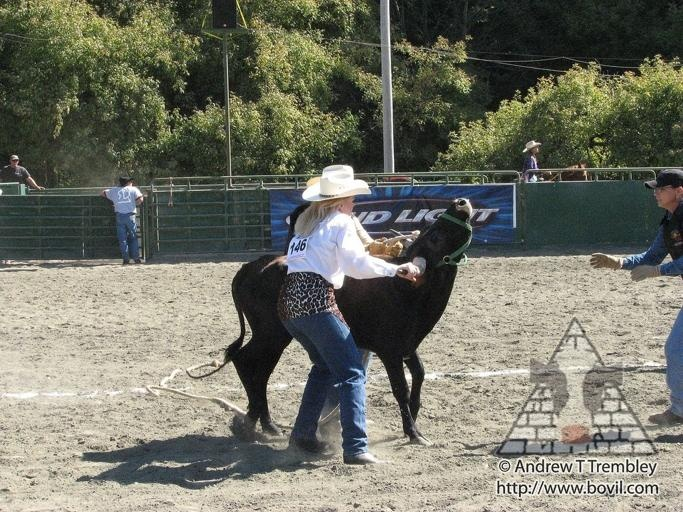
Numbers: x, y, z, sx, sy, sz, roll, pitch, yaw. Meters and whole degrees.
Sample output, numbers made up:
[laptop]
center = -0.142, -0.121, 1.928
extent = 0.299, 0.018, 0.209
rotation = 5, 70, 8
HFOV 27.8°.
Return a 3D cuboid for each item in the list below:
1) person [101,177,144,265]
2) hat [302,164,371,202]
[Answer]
[person]
center = -5.382, -0.924, 34.172
extent = 0.961, 2.157, 0.770
rotation = -3, 6, -10
[hat]
center = -0.119, -1.266, 24.134
extent = 0.893, 0.326, 0.715
rotation = -10, 21, 4
